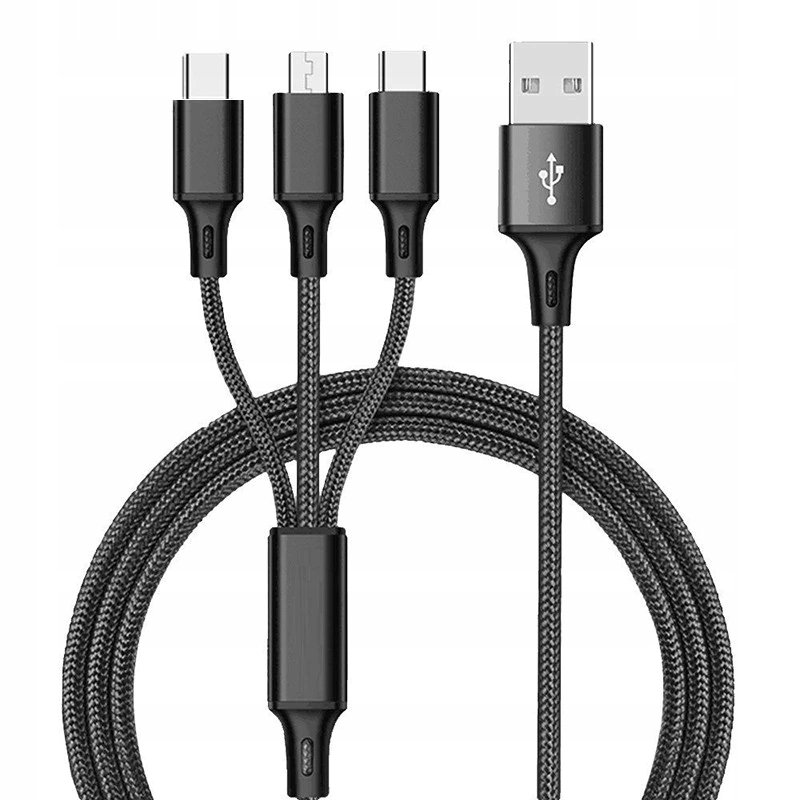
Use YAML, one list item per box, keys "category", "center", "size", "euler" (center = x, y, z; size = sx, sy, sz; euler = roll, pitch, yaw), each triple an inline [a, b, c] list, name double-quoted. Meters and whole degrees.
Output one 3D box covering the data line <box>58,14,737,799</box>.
- category: "data line"
  center: [-0.001, 0.023, 1.460]
  size: [0.782, 0.090, 1.273]
  euler: [0, -90, 2]
